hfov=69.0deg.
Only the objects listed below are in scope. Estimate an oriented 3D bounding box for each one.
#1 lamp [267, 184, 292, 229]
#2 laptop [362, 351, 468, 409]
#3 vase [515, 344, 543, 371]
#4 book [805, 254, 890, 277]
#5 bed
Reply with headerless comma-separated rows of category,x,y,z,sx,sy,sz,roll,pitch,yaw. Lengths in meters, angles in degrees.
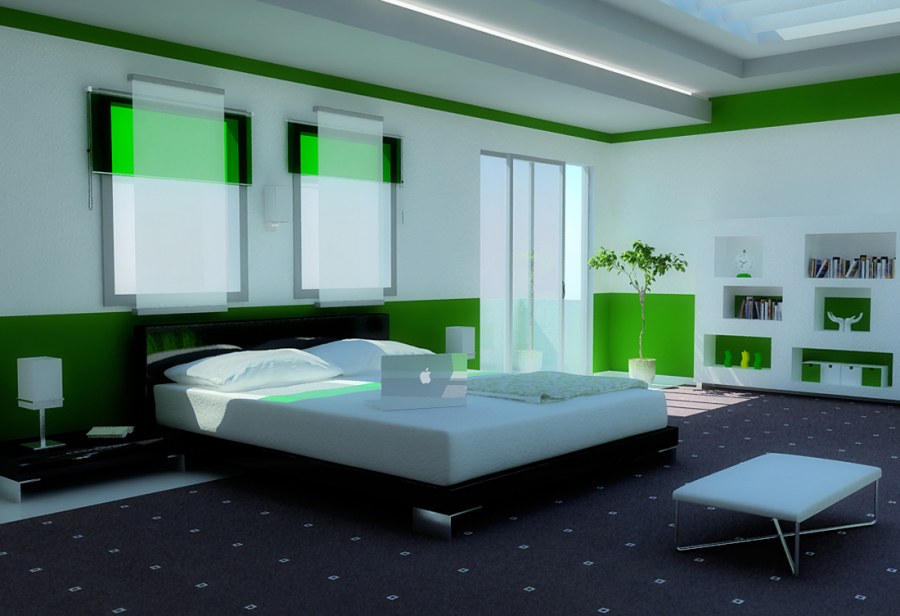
lamp,-1.837,-1.093,7.164,0.144,0.448,0.297,4,7,39
laptop,-0.224,0.542,5.307,0.795,0.425,0.417,0,6,-2
vase,1.131,0.680,9.057,0.341,0.297,0.340,-1,0,36
book,5.201,-0.547,8.612,0.971,0.283,0.276,2,6,26
bed,-0.787,0.790,5.610,2.958,0.790,2.223,2,5,40
